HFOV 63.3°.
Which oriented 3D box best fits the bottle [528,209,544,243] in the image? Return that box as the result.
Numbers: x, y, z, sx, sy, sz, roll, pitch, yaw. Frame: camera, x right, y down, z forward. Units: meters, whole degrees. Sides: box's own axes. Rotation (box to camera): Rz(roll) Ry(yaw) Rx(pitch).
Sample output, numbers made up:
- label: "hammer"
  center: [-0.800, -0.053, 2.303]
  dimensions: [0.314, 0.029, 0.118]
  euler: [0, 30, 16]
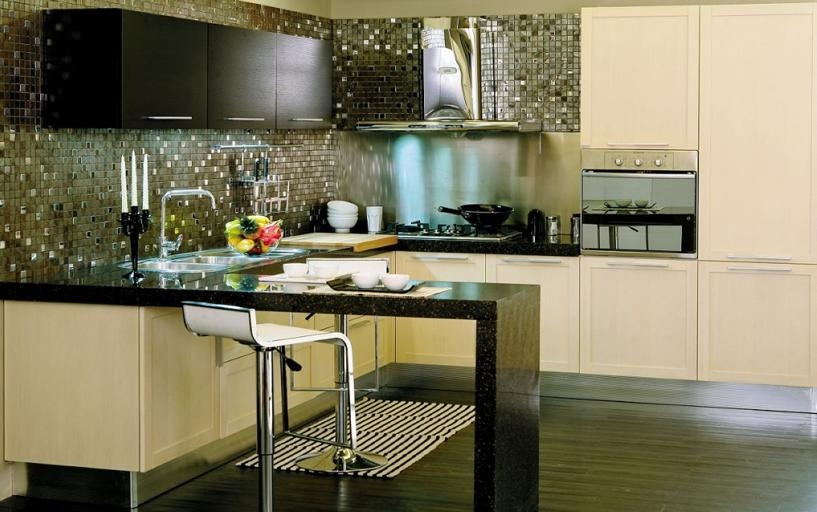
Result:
- label: "bottle"
  center: [1.201, -0.305, 6.233]
  dimensions: [0.178, 0.255, 0.492]
  euler: [1, 8, 10]

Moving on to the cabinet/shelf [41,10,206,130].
- label: "cabinet/shelf"
  center: [-1.885, -1.237, 4.393]
  dimensions: [1.021, 0.769, 0.455]
  euler: [-4, 9, -25]

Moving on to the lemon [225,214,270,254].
- label: "lemon"
  center: [-1.252, -0.166, 5.005]
  dimensions: [0.311, 0.193, 0.326]
  euler: [-2, 0, 44]

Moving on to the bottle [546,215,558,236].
- label: "bottle"
  center: [1.376, -0.294, 6.316]
  dimensions: [0.131, 0.175, 0.204]
  euler: [1, 8, 12]

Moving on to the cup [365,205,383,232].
- label: "cup"
  center: [-0.343, -0.371, 6.647]
  dimensions: [0.146, 0.256, 0.146]
  euler: [0, 8, 0]

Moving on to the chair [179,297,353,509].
- label: "chair"
  center: [-0.679, 0.808, 3.726]
  dimensions: [0.889, 1.239, 0.876]
  euler: [1, 8, 11]

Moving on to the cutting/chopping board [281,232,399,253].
- label: "cutting/chopping board"
  center: [-0.623, -0.129, 6.006]
  dimensions: [1.078, 0.108, 0.837]
  euler: [-2, 8, -10]

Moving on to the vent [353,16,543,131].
- label: "vent"
  center: [0.366, -1.762, 6.430]
  dimensions: [1.845, 0.967, 0.918]
  euler: [4, 21, 18]

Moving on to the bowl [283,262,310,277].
- label: "bowl"
  center: [-0.684, 0.083, 3.994]
  dimensions: [0.138, 0.077, 0.128]
  euler: [0, 8, 0]

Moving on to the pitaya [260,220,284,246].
- label: "pitaya"
  center: [-1.038, -0.173, 5.050]
  dimensions: [0.213, 0.083, 0.155]
  euler: [-3, 19, 6]

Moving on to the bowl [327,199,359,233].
- label: "bowl"
  center: [-0.667, -0.413, 6.603]
  dimensions: [0.331, 0.243, 0.321]
  euler: [0, -2, 0]

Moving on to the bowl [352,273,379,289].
- label: "bowl"
  center: [-0.229, 0.132, 3.598]
  dimensions: [0.108, 0.043, 0.099]
  euler: [-1, 4, 0]
